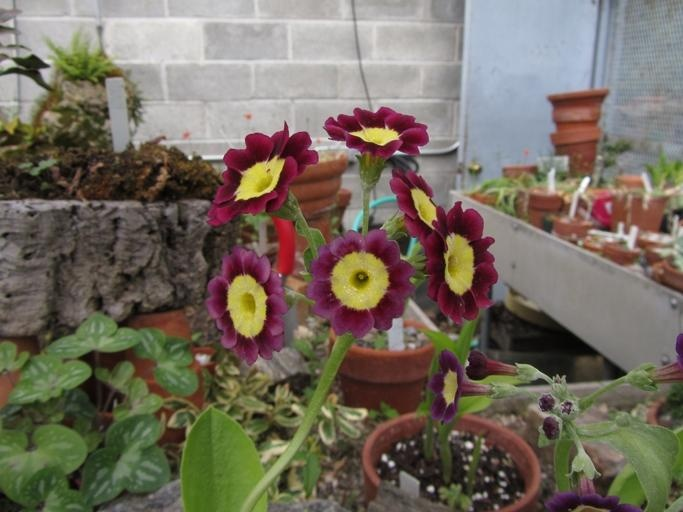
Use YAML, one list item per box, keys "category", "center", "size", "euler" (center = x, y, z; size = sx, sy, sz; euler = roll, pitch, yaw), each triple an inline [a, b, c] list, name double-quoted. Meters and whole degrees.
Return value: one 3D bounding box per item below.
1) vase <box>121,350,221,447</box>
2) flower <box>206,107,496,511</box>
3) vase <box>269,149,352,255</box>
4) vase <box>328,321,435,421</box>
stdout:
- category: "vase"
  center: [-0.441, 0.329, 1.528]
  size: [0.206, 0.234, 0.230]
  euler: [3, 19, 9]
- category: "flower"
  center: [0.018, 0.100, 1.029]
  size: [0.512, 0.739, 0.246]
  euler: [-3, 9, -15]
- category: "vase"
  center: [-0.099, -0.185, 2.193]
  size: [0.232, 0.337, 0.230]
  euler: [-8, 13, -15]
- category: "vase"
  center: [0.137, 0.338, 1.601]
  size: [0.208, 0.179, 0.216]
  euler: [-5, 13, -22]
